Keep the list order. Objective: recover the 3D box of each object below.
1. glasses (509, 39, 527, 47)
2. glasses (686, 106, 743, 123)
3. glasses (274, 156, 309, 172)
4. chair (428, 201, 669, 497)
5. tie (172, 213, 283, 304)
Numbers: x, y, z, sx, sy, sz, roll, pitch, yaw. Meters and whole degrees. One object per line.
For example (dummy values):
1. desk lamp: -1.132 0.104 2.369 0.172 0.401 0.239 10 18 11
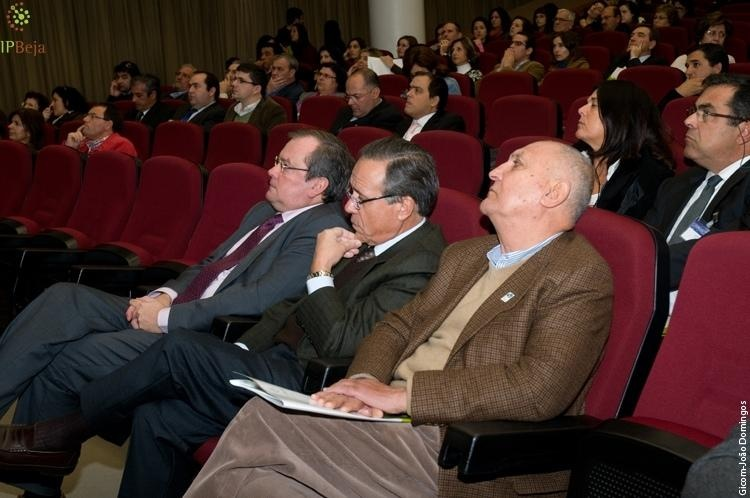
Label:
1. glasses: 1.826 -2.646 6.924 0.201 0.093 0.105 8 12 32
2. glasses: 1.458 -0.584 2.346 0.115 0.035 0.113 9 -1 -10
3. glasses: -0.376 -0.394 2.555 0.100 0.031 0.097 9 4 -24
4. chair: 0.379 0.282 1.826 0.723 0.938 0.634 2 -2 -22
5. tie: -0.683 0.050 2.682 0.619 0.113 0.081 -42 -3 -11
